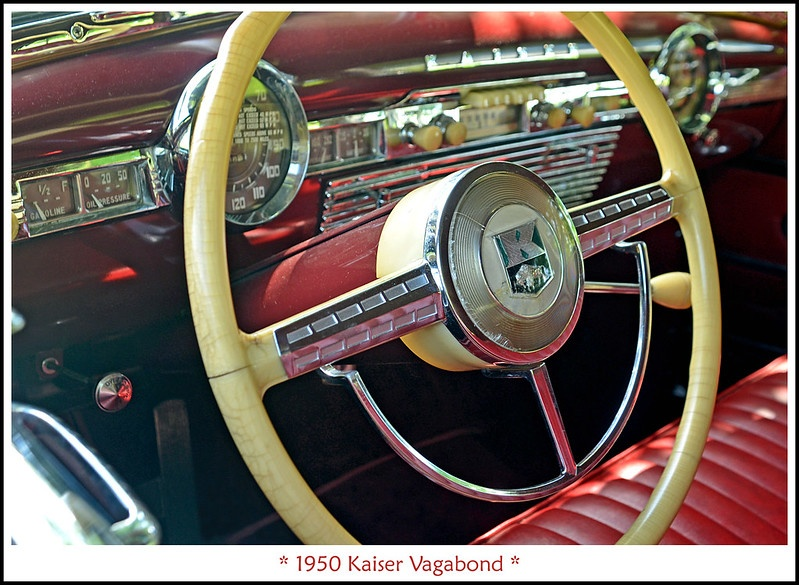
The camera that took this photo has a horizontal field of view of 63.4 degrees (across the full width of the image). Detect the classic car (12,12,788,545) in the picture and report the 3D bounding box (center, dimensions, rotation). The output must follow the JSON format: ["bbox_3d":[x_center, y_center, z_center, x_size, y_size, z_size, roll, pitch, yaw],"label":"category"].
[{"bbox_3d":[-0.025,-0.013,0.996,0.807,0.878,0.246,-10,-5,-26],"label":"classic car"}]

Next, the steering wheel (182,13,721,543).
[{"bbox_3d":[0.060,-0.014,1.011,0.785,0.851,0.241,-10,-6,-29],"label":"steering wheel"}]
